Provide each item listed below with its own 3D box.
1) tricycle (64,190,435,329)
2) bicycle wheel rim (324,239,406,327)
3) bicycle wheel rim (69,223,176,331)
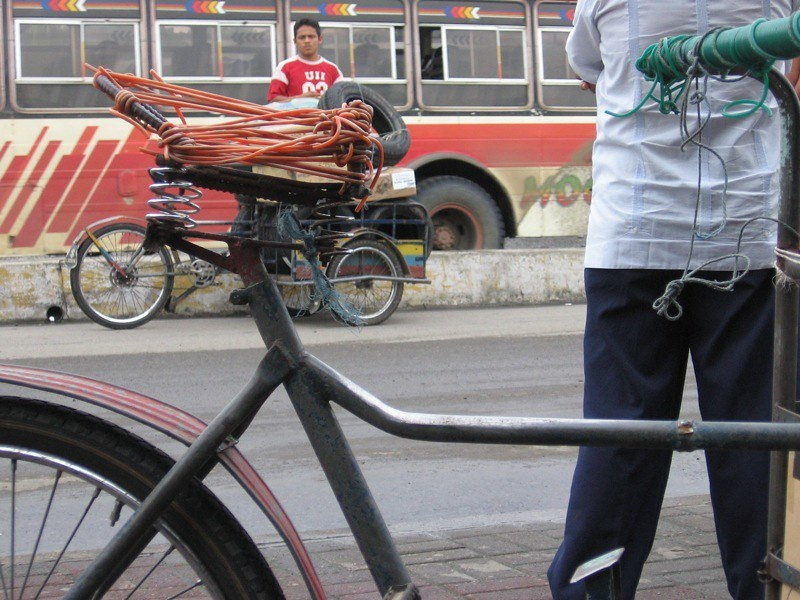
[{"bbox_3d":[-1.416,-0.297,15.101,2.998,0.898,1.721,-2,4,-28],"label":"tricycle"},{"bbox_3d":[-0.257,-0.124,14.767,0.699,0.682,0.668,-8,19,-41],"label":"bicycle wheel rim"},{"bbox_3d":[-2.337,-0.190,14.871,1.049,0.937,0.294,-8,7,-41],"label":"bicycle wheel rim"}]
